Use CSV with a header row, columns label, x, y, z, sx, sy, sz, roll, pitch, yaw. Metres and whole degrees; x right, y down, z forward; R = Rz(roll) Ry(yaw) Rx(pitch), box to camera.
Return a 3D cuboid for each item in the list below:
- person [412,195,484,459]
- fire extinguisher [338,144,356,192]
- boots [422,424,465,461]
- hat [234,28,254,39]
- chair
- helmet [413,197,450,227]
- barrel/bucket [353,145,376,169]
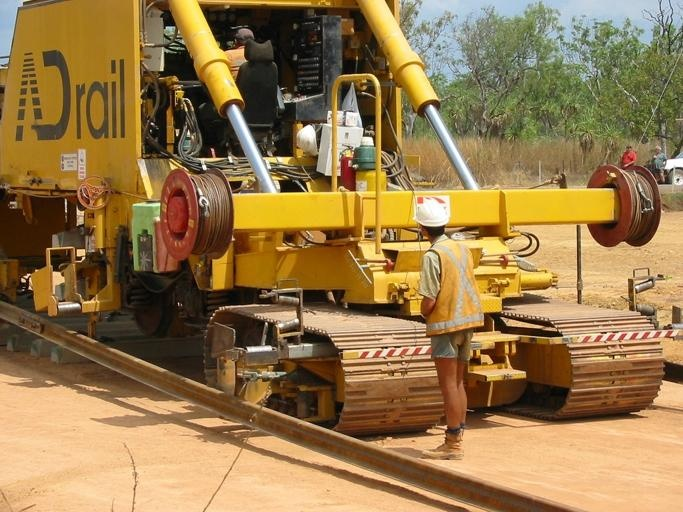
label,x,y,z,sx,sy,sz,roll,pitch,yaw
person,0.876,0.585,7.035,0.544,2.007,0.384,1,1,-3
fire extinguisher,0.074,-0.891,9.021,0.158,0.440,0.412,1,1,0
boots,0.861,1.496,7.042,0.407,0.320,0.162,3,-2,0
hat,-1.108,-2.550,10.136,0.163,0.155,0.187,-7,16,-24
chair,-1.054,-1.774,9.831,0.694,1.249,0.697,-8,19,-31
helmet,0.730,-0.358,7.235,0.261,0.167,0.385,-1,11,-6
barrel/bucket,0.239,-0.976,8.736,0.216,0.221,0.222,1,-1,0
